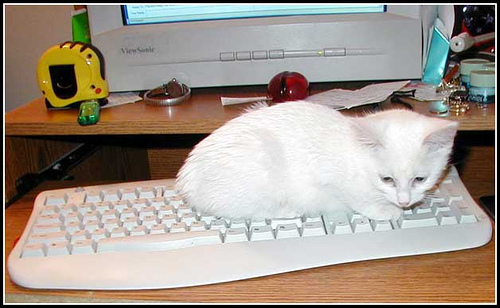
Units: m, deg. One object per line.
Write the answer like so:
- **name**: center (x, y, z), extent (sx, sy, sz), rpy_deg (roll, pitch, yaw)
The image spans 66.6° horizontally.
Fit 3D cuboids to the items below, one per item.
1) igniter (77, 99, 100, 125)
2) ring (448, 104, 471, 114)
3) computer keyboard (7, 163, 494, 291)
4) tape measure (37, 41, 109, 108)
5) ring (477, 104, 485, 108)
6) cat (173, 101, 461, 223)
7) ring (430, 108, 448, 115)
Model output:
- **igniter**: center (-0.390, -0.100, 0.921), extent (0.041, 0.021, 0.070), rpy_deg (2, 46, -4)
- **ring**: center (0.495, -0.106, 0.889), extent (0.033, 0.008, 0.039), rpy_deg (2, 21, 27)
- **computer keyboard**: center (-0.002, 0.144, 0.813), extent (0.974, 0.137, 0.237), rpy_deg (-4, 18, -2)
- **tape measure**: center (-0.446, -0.201, 0.952), extent (0.210, 0.182, 0.122), rpy_deg (-2, 28, -8)
- **ring**: center (0.536, -0.112, 0.883), extent (0.011, 0.004, 0.014), rpy_deg (1, 13, 10)
- **cat**: center (0.117, -0.003, 0.859), extent (0.604, 0.202, 0.273), rpy_deg (8, 22, -5)
- **ring**: center (0.430, -0.098, 0.868), extent (0.036, 0.011, 0.019), rpy_deg (5, 20, 24)
